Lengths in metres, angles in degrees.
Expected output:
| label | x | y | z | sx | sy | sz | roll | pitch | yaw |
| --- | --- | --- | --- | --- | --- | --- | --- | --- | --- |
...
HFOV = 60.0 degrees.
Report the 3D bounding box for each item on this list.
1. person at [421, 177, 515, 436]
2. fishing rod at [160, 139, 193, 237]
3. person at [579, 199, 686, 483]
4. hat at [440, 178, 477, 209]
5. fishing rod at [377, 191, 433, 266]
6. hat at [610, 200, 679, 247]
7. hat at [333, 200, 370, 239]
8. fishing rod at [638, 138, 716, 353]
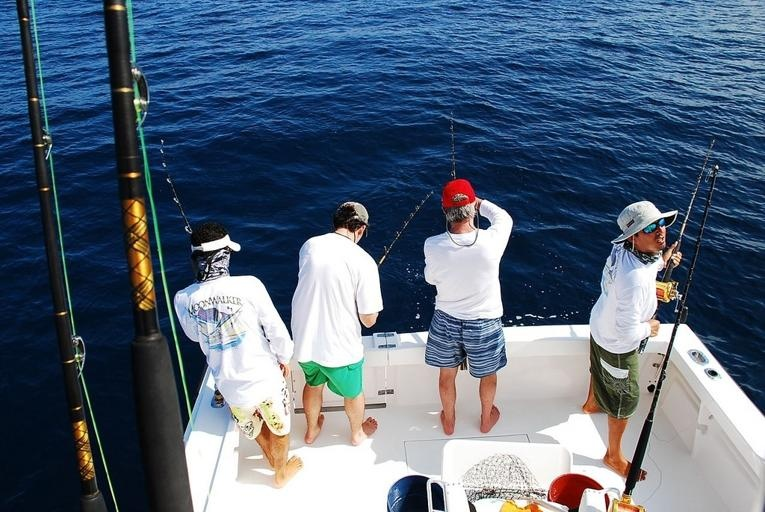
| label | x | y | z | sx | sy | sz | roll | pitch | yaw |
| --- | --- | --- | --- | --- | --- | --- | --- | --- | --- |
| person | 0.722 | 0.466 | 5.745 | 0.701 | 2.185 | 0.763 | 2 | 28 | 9 |
| fishing rod | -3.102 | -0.989 | 10.060 | 0.235 | 0.307 | 2.071 | -31 | 51 | 2 |
| person | 2.229 | 0.853 | 5.921 | 0.862 | 2.517 | 1.153 | -8 | 45 | 9 |
| hat | 0.638 | -0.508 | 5.515 | 0.266 | 0.231 | 0.231 | 1 | 27 | 7 |
| fishing rod | 0.306 | -0.341 | 9.018 | 0.028 | 0.104 | 1.482 | -34 | 15 | 51 |
| hat | 2.105 | -0.316 | 5.415 | 0.417 | 0.185 | 0.401 | -33 | 1 | 31 |
| hat | -0.222 | -0.353 | 5.523 | 0.295 | 0.329 | 0.311 | 14 | 37 | 10 |
| fishing rod | 3.434 | -0.098 | 7.715 | 0.397 | 0.190 | 3.468 | 23 | 66 | 13 |
